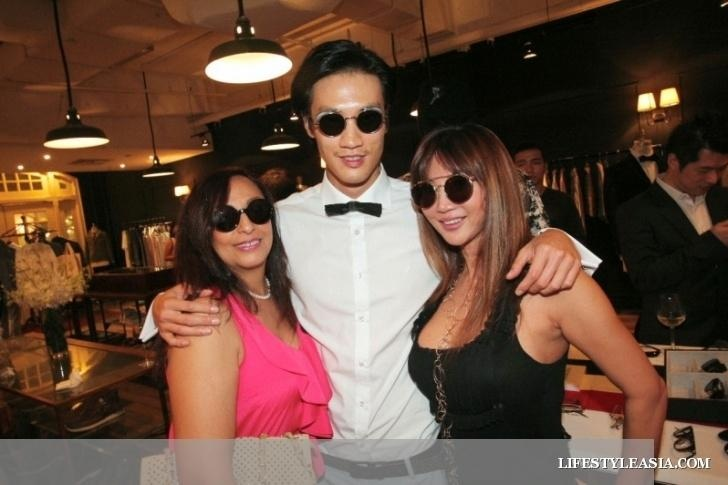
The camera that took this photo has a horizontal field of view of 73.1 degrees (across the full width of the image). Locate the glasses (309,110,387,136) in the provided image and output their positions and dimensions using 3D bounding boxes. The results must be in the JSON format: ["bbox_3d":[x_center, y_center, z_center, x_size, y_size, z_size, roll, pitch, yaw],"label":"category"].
[{"bbox_3d":[-0.094,-0.775,3.203,0.427,0.165,0.050,-3,5,-1],"label":"glasses"}]

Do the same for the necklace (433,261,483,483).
[{"bbox_3d":[0.541,0.809,3.051,0.202,1.262,0.154,-4,-14,17],"label":"necklace"}]

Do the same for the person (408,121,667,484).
[{"bbox_3d":[0.931,0.317,2.949,1.345,2.096,0.457,-1,6,23],"label":"person"}]

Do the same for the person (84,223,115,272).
[{"bbox_3d":[-7.436,0.159,13.879,0.371,1.213,0.687,2,7,41],"label":"person"}]

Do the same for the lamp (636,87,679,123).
[{"bbox_3d":[4.182,-1.962,6.983,0.588,0.540,0.329,-2,-2,41],"label":"lamp"}]
